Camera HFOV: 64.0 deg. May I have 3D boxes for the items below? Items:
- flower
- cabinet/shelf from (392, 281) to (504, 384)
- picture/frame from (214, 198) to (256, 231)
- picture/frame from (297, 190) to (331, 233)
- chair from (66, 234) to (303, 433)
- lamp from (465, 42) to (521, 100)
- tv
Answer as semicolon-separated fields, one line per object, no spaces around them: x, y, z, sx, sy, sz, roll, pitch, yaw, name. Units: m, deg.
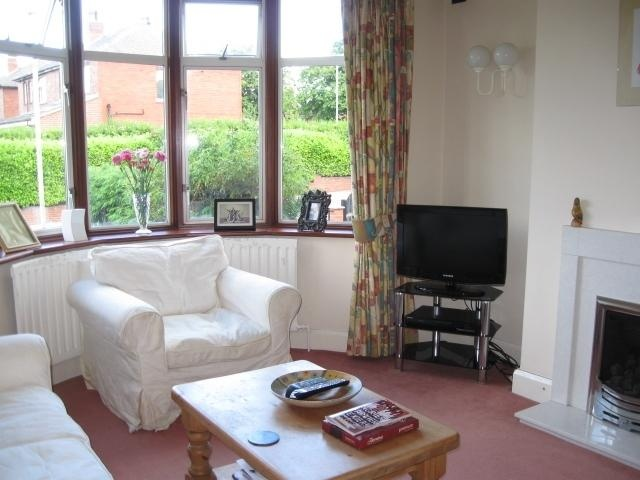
-1.465;-0.417;4.235;0.431;0.687;0.346;-4;14;-22;flower
1.000;0.544;3.974;0.841;0.692;0.694;2;4;35;cabinet/shelf
-0.738;-0.214;4.387;0.251;0.227;0.029;-1;-3;-5;picture/frame
-0.040;-0.243;4.381;0.323;0.454;0.049;4;-11;14;picture/frame
-1.017;0.526;3.598;1.394;1.192;1.153;-4;6;-38;chair
1.342;-1.328;3.995;0.395;0.371;0.256;8;15;28;lamp
0.995;0.070;3.873;0.637;0.517;0.071;3;5;18;tv
